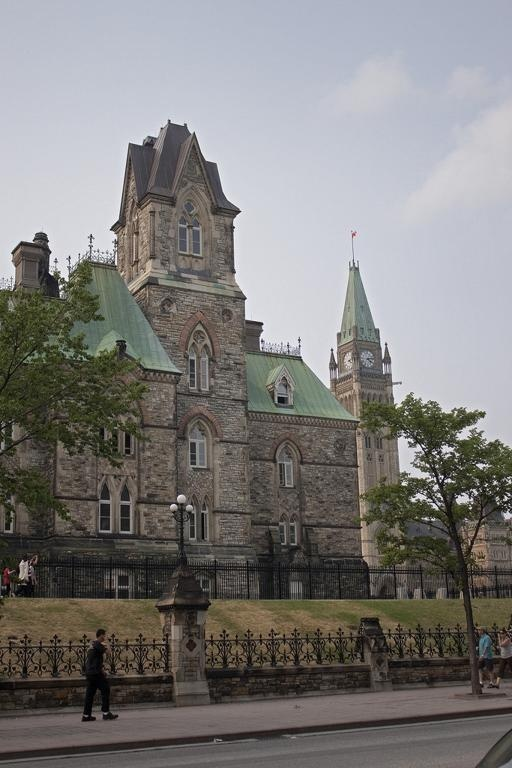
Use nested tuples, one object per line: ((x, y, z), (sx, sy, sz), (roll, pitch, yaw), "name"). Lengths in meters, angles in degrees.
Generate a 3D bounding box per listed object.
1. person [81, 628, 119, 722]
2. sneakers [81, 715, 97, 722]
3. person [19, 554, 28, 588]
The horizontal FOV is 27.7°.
((-2.691, 4.906, 17.612), (0.552, 1.482, 1.937), (-1, -12, -9), "person")
((-2.725, 5.382, 16.786), (0.218, 0.127, 0.243), (-1, -12, -8), "sneakers")
((-6.957, 5.554, 31.010), (0.269, 0.807, 0.526), (0, -13, -14), "person")
